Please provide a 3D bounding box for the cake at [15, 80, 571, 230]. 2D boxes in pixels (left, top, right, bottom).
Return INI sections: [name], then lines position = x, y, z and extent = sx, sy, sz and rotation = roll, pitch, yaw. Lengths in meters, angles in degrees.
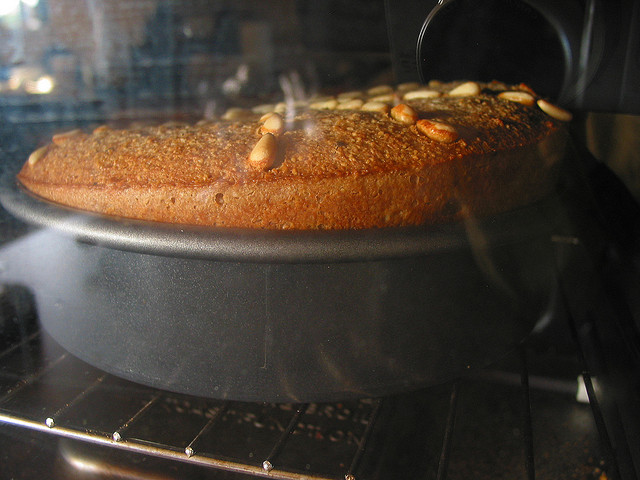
[cake]
position = -0.011, -0.102, 0.788
extent = 0.435, 0.078, 0.336
rotation = -2, 15, -4
